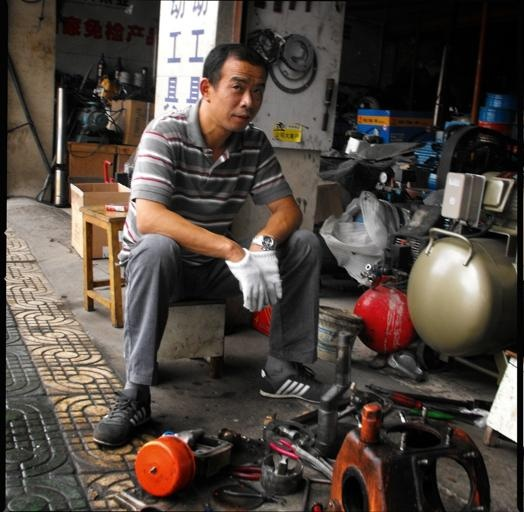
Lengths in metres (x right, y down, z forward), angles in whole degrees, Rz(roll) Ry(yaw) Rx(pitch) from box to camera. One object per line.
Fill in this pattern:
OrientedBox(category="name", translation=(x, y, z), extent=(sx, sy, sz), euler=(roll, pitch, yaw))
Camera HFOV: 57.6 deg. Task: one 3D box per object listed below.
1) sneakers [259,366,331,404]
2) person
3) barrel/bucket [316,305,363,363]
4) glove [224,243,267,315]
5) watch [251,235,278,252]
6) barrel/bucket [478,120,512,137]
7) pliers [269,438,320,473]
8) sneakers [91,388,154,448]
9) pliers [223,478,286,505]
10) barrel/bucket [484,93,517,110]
OrientedBox(category="sneakers", translation=(0.136, 0.566, 2.089), extent=(0.372, 0.133, 0.114), euler=(1, 9, 5))
OrientedBox(category="person", translation=(-0.199, -0.084, 1.847), extent=(0.922, 1.394, 0.481), euler=(-1, 15, -35))
OrientedBox(category="barrel/bucket", translation=(0.347, 0.415, 2.507), extent=(0.304, 0.250, 0.280), euler=(17, 4, -1))
OrientedBox(category="glove", translation=(-0.047, 0.096, 1.807), extent=(0.146, 0.234, 0.101), euler=(-3, 16, -40))
OrientedBox(category="watch", translation=(0.008, -0.046, 1.891), extent=(0.076, 0.043, 0.085), euler=(2, 1, -25))
OrientedBox(category="barrel/bucket", translation=(2.718, -1.476, 5.521), extent=(0.415, 0.112, 0.276), euler=(8, 11, 10))
OrientedBox(category="pliers", translation=(0.124, 0.655, 1.569), extent=(0.200, 0.038, 0.057), euler=(26, 38, 11))
OrientedBox(category="sneakers", translation=(-0.473, 0.547, 1.683), extent=(0.101, 0.162, 0.262), euler=(12, 12, 16))
OrientedBox(category="pliers", translation=(-0.016, 0.711, 1.444), extent=(0.185, 0.027, 0.120), euler=(10, 11, 17))
OrientedBox(category="barrel/bucket", translation=(2.718, -1.733, 5.404), extent=(0.295, 0.090, 0.204), euler=(2, 6, -29))
